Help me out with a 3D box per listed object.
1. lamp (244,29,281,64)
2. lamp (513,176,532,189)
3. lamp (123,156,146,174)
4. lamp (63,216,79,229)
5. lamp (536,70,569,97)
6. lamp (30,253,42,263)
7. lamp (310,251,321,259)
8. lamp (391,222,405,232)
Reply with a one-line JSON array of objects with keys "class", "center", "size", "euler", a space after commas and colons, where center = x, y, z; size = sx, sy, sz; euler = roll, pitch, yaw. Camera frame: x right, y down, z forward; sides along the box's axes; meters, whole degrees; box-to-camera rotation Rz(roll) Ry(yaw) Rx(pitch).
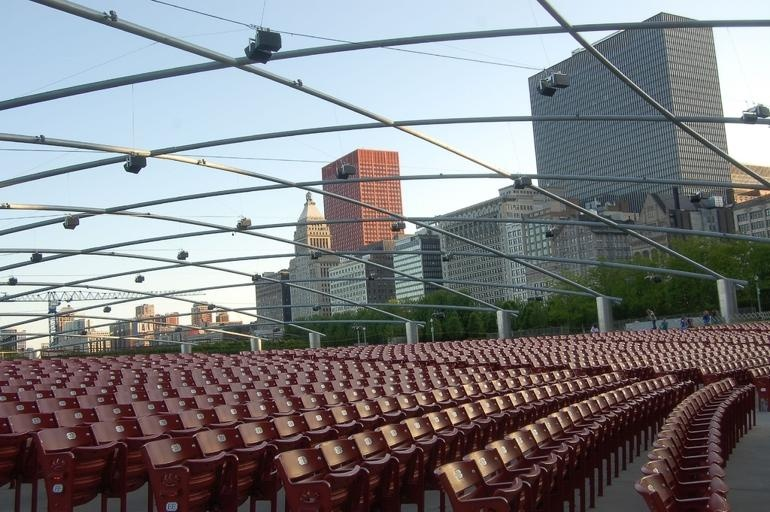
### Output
[{"class": "lamp", "center": [-3.882, -6.366, 21.783], "size": [1.064, 0.686, 1.238], "euler": [1, 29, -19]}, {"class": "lamp", "center": [6.903, -3.653, 36.565], "size": [0.819, 0.613, 1.254], "euler": [-5, -3, -5]}, {"class": "lamp", "center": [-10.392, -3.789, 30.479], "size": [0.781, 0.871, 1.676], "euler": [1, -8, -21]}, {"class": "lamp", "center": [-17.919, -1.946, 41.872], "size": [0.799, 1.057, 1.618], "euler": [1, -8, -24]}, {"class": "lamp", "center": [6.323, -6.468, 27.536], "size": [0.896, 0.623, 1.357], "euler": [0, -4, -38]}, {"class": "lamp", "center": [-22.376, 0.114, 46.910], "size": [0.535, 0.664, 0.995], "euler": [-7, -7, 42]}, {"class": "lamp", "center": [-5.572, -0.076, 58.567], "size": [0.948, 0.292, 1.074], "euler": [0, -3, -4]}, {"class": "lamp", "center": [0.902, -1.996, 49.577], "size": [0.874, 0.396, 0.742], "euler": [-5, -4, -4]}]
